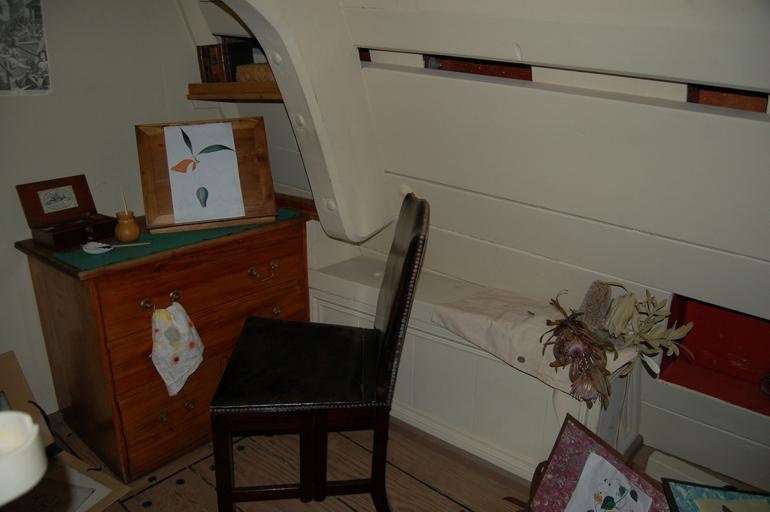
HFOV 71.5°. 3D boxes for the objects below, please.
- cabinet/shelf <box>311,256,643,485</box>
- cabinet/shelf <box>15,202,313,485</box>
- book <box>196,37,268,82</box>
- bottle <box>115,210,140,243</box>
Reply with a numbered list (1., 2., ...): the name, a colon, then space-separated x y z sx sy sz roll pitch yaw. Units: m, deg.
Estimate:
1. cabinet/shelf: 0.434 0.511 2.285 0.836 0.434 0.295 21 28 31
2. cabinet/shelf: -1.035 0.294 2.827 1.087 1.092 0.745 -20 34 -40
3. book: -0.774 -0.961 2.628 0.294 0.195 0.170 -5 23 -13
4. bottle: -1.159 -0.135 2.369 0.111 0.126 0.105 -3 23 -7
